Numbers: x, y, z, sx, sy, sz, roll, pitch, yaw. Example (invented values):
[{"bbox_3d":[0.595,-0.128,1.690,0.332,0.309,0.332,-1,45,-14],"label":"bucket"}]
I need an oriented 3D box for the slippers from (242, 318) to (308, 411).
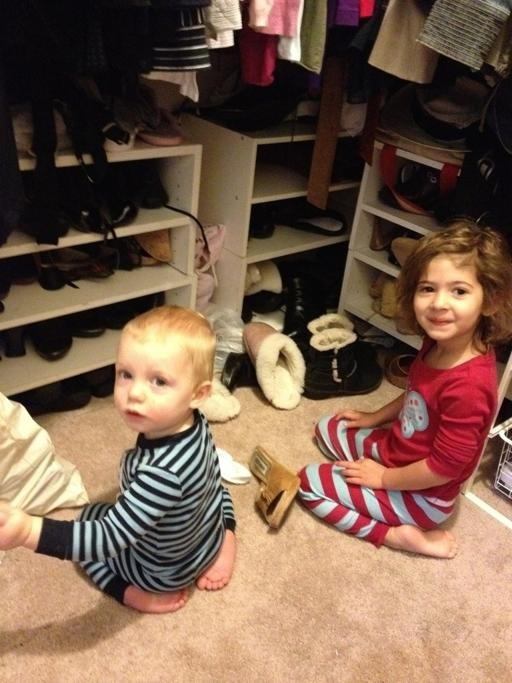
[{"bbox_3d":[0.055,0.062,1.731,0.159,0.117,0.292,-10,61,-13],"label":"slippers"}]

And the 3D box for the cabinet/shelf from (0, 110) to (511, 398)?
[{"bbox_3d":[-0.010,-0.248,1.469,0.932,0.496,0.217,-14,29,-36],"label":"cabinet/shelf"}]

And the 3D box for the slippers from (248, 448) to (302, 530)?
[{"bbox_3d":[0.033,0.347,1.274,0.069,0.095,0.184,3,39,-30],"label":"slippers"}]
